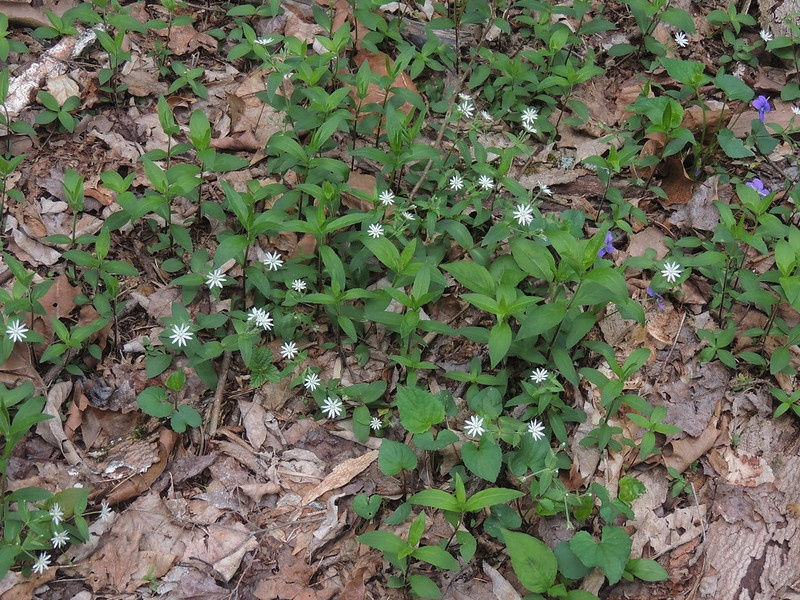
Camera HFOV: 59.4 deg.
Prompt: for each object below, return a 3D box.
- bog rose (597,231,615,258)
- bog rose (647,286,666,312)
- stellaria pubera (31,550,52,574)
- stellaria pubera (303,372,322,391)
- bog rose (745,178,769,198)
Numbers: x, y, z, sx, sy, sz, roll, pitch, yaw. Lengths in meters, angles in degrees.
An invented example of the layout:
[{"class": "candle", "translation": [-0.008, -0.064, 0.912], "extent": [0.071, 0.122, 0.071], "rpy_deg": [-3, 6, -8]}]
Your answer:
[{"class": "bog rose", "translation": [1.689, -0.452, 5.776], "extent": [0.086, 0.225, 0.247], "rpy_deg": [11, 70, -4]}, {"class": "bog rose", "translation": [2.213, -0.023, 6.064], "extent": [0.052, 0.183, 0.189], "rpy_deg": [-28, 98, 6]}, {"class": "stellaria pubera", "translation": [-2.614, 1.917, 5.086], "extent": [0.056, 0.145, 0.145], "rpy_deg": [19, 33, -44]}, {"class": "stellaria pubera", "translation": [-0.703, 0.647, 5.649], "extent": [0.128, 0.037, 0.149], "rpy_deg": [-21, 91, -3]}, {"class": "bog rose", "translation": [3.085, -0.965, 6.073], "extent": [0.199, 0.066, 0.214], "rpy_deg": [-33, 80, -40]}]
